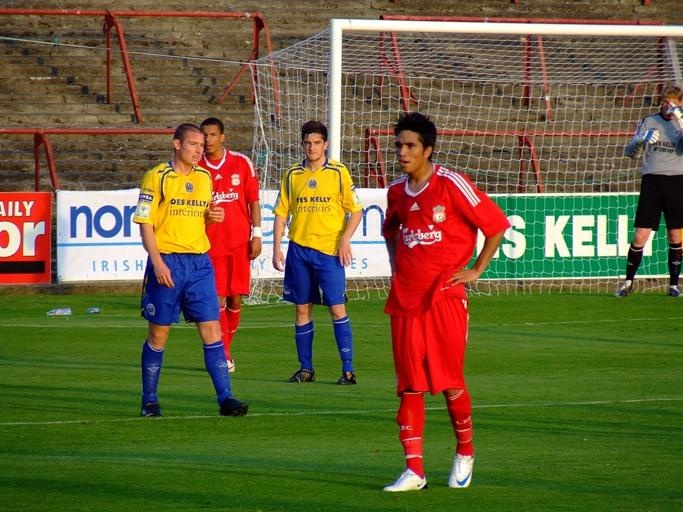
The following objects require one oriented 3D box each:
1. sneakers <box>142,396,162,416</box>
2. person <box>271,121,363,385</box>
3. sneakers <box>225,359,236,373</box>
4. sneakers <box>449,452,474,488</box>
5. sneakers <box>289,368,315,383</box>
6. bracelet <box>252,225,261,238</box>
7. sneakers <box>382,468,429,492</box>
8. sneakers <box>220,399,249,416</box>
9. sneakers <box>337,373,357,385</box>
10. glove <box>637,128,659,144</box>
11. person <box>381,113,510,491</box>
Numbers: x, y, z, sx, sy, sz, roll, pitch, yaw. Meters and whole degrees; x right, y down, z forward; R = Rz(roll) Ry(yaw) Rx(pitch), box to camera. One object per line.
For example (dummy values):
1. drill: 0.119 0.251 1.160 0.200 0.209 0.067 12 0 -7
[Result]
1. sneakers: -1.978 1.598 15.066 0.210 0.157 0.122 -1 3 -5
2. person: -0.284 -0.028 16.494 1.004 2.944 0.582 0 3 5
3. sneakers: -1.275 1.301 16.800 0.109 0.103 0.291 1 -4 -3
4. sneakers: 1.122 2.025 13.524 0.157 0.155 0.399 2 22 16
5. sneakers: -0.451 1.361 16.418 0.297 0.146 0.236 0 3 0
6. bracelet: -0.961 -0.275 16.964 0.139 0.115 0.122 2 -6 -15
7. sneakers: 0.621 2.120 13.488 0.505 0.176 0.154 1 -5 -12
8. sneakers: -1.123 1.594 15.068 0.356 0.135 0.129 -2 0 17
9. sneakers: 0.061 1.390 16.289 0.208 0.110 0.113 4 -7 -6
10. glove: 4.489 -1.734 21.004 0.261 0.238 0.309 0 3 16
11. person: 0.917 0.416 13.587 1.031 3.531 0.616 0 3 2
